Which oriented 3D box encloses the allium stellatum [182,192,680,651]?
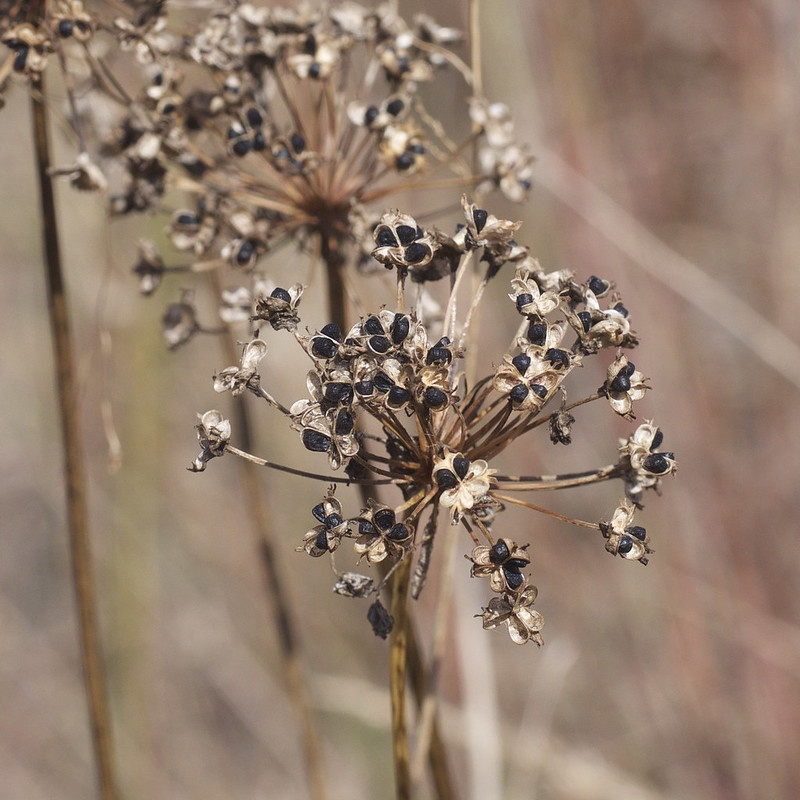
[{"bbox_3d":[0.109,0.119,3.139,0.979,0.894,0.946,-10,69,-3],"label":"allium stellatum"}]
